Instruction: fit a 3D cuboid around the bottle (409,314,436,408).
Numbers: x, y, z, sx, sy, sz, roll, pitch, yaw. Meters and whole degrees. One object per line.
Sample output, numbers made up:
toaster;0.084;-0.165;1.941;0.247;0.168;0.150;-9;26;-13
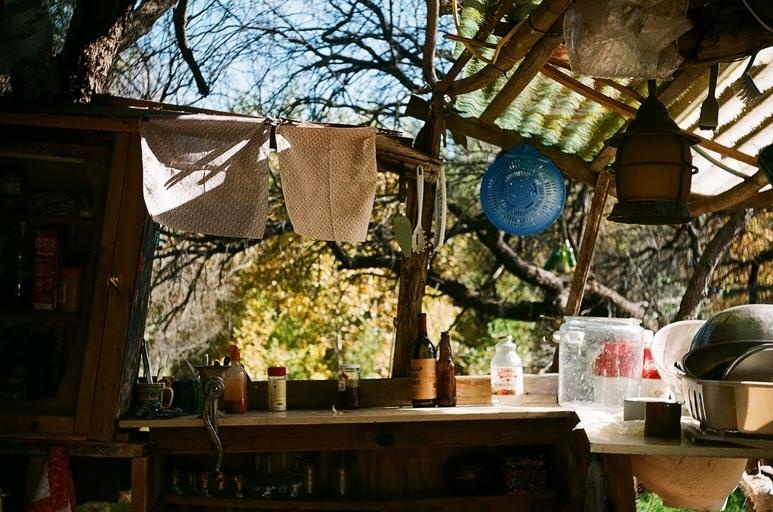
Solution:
bottle;0.228;0.634;5.668;0.156;0.591;0.226;0;-15;3

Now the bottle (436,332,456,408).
bottle;0.351;0.700;5.606;0.111;0.423;0.217;-1;-16;10

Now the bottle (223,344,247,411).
bottle;-0.887;0.741;5.446;0.141;0.384;0.194;5;-16;-12

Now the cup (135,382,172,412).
cup;-1.350;0.828;5.360;0.174;0.147;0.145;4;-12;-7

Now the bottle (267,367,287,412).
bottle;-0.652;0.803;5.503;0.106;0.257;0.112;1;-15;0

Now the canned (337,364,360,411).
canned;-0.240;0.802;5.568;0.148;0.262;0.108;-3;-16;14
